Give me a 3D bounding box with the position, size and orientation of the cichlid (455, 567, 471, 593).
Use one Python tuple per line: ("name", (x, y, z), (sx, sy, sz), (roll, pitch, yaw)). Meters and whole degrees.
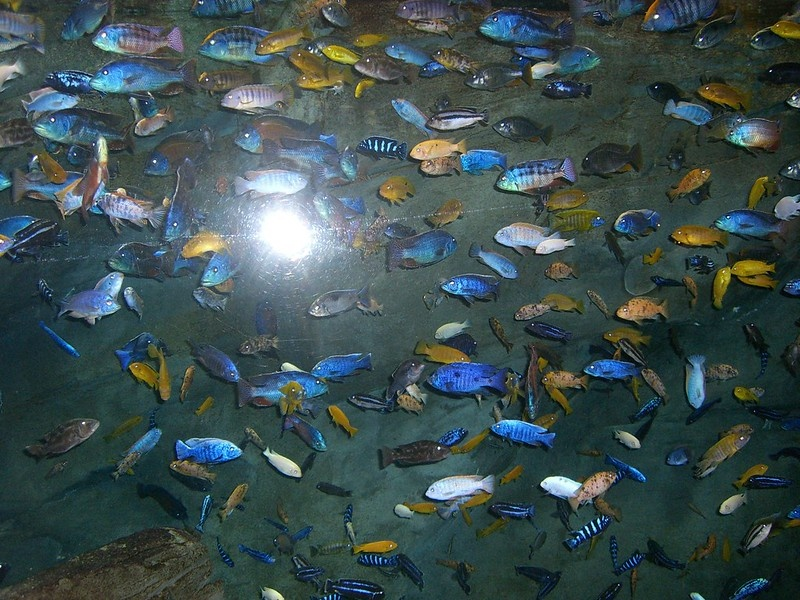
("cichlid", (0.695, 3.042, 7.882), (0.138, 0.324, 0.061), (-15, 17, 10))
